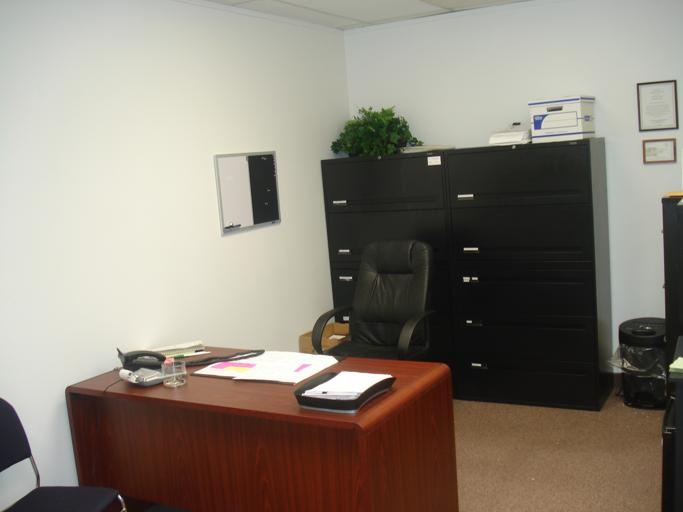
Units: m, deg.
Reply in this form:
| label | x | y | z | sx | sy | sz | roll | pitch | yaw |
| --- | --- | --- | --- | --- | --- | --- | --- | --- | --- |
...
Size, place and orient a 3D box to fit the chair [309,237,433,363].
| label | x | y | z | sx | sy | sz | roll | pitch | yaw |
| --- | --- | --- | --- | --- | --- | --- | --- | --- | --- |
| chair | 0.456 | 0.280 | 4.254 | 0.761 | 1.146 | 0.924 | 1 | 3 | 28 |

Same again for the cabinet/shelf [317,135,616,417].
| label | x | y | z | sx | sy | sz | roll | pitch | yaw |
| --- | --- | --- | --- | --- | --- | --- | --- | --- | --- |
| cabinet/shelf | 1.087 | 0.159 | 4.198 | 2.236 | 2.087 | 0.751 | 0 | 0 | 24 |

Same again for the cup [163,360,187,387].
| label | x | y | z | sx | sy | sz | roll | pitch | yaw |
| --- | --- | --- | --- | --- | --- | --- | --- | --- | --- |
| cup | -0.926 | 0.634 | 3.005 | 0.125 | 0.147 | 0.132 | -1 | 1 | 0 |

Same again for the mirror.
| label | x | y | z | sx | sy | sz | roll | pitch | yaw |
| --- | --- | --- | --- | --- | --- | --- | --- | --- | --- |
| mirror | -0.737 | -0.479 | 4.123 | 0.047 | 0.559 | 0.643 | -1 | 8 | 33 |

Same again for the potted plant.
| label | x | y | z | sx | sy | sz | roll | pitch | yaw |
| --- | --- | --- | --- | --- | --- | --- | --- | --- | --- |
| potted plant | 0.308 | -1.087 | 4.879 | 0.623 | 0.388 | 0.649 | -4 | 15 | 19 |

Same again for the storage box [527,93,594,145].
| label | x | y | z | sx | sy | sz | roll | pitch | yaw |
| --- | --- | --- | --- | --- | --- | --- | --- | --- | --- |
| storage box | 1.767 | -1.087 | 4.354 | 0.459 | 0.318 | 0.477 | -12 | 12 | -36 |

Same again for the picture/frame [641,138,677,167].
| label | x | y | z | sx | sy | sz | roll | pitch | yaw |
| --- | --- | --- | --- | --- | --- | --- | --- | --- | --- |
| picture/frame | 2.527 | -0.831 | 4.320 | 0.220 | 0.194 | 0.018 | 3 | 6 | 27 |

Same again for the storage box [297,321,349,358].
| label | x | y | z | sx | sy | sz | roll | pitch | yaw |
| --- | --- | --- | --- | --- | --- | --- | --- | --- | --- |
| storage box | -0.113 | 0.636 | 4.792 | 0.214 | 0.283 | 0.412 | 3 | 8 | 32 |

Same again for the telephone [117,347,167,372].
| label | x | y | z | sx | sy | sz | roll | pitch | yaw |
| --- | --- | --- | --- | --- | --- | --- | --- | --- | --- |
| telephone | -1.138 | 0.592 | 3.124 | 0.184 | 0.083 | 0.135 | -1 | 6 | -21 |

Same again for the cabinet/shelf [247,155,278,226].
| label | x | y | z | sx | sy | sz | roll | pitch | yaw |
| --- | --- | --- | --- | --- | --- | --- | --- | --- | --- |
| cabinet/shelf | -0.613 | -0.545 | 4.229 | 0.111 | 0.490 | 0.442 | -1 | 6 | 21 |
